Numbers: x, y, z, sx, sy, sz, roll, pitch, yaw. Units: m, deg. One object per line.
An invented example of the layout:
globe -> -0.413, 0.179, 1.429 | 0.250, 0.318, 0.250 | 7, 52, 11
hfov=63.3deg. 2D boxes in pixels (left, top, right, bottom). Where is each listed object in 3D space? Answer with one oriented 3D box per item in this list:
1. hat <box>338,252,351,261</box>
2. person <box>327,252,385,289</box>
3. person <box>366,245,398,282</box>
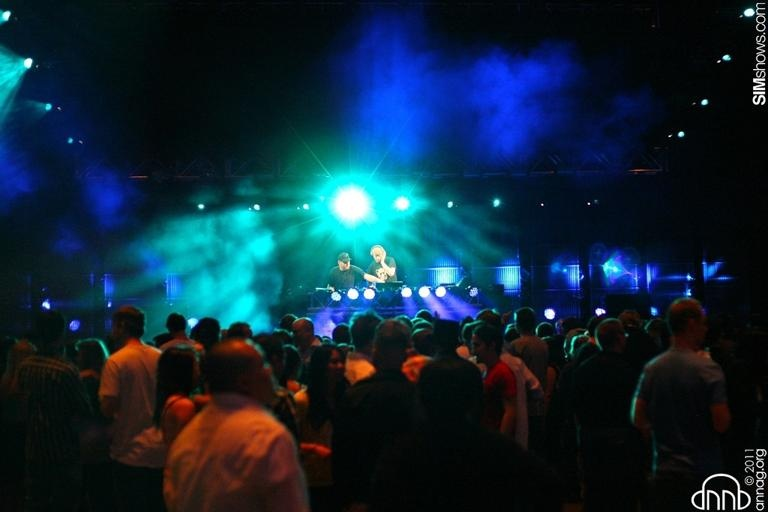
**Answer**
hat -> -1.095, -0.001, 17.291 | 0.260, 0.272, 0.299 | -1, 9, -1
person -> -0.831, 0.423, 17.645 | 0.875, 0.907, 0.284 | -14, -9, -30
person -> -0.128, 0.328, 17.854 | 0.893, 1.325, 0.740 | -10, 6, -26
